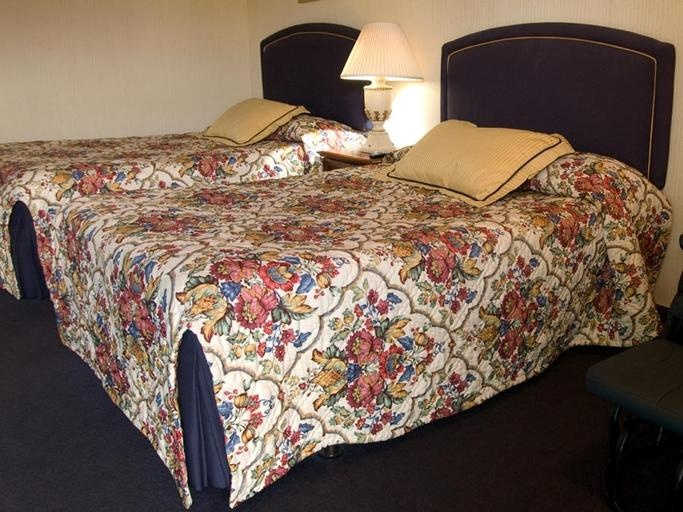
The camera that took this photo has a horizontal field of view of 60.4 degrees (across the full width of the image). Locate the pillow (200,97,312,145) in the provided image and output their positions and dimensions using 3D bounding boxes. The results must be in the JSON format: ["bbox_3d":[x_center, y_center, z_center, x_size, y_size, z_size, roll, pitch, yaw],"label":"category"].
[{"bbox_3d":[-0.630,-1.063,4.507,0.568,0.159,0.526,11,44,44],"label":"pillow"}]

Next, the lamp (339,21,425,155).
[{"bbox_3d":[0.250,-1.118,4.038,0.541,0.822,0.527,-5,12,-42],"label":"lamp"}]
